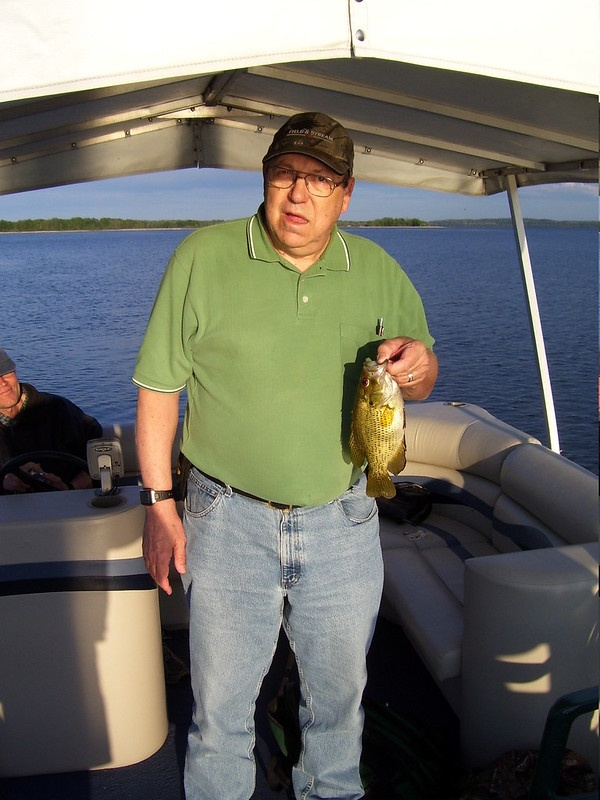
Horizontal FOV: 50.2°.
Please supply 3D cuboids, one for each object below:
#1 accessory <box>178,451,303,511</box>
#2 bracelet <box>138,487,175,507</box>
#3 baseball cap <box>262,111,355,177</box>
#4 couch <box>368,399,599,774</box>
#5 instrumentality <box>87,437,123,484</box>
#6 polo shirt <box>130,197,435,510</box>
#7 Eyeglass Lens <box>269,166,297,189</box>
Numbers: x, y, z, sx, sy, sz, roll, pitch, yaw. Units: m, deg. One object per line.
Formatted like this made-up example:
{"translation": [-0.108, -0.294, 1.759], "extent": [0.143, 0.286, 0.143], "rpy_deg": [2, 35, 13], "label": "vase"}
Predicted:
{"translation": [-0.206, 0.211, 1.682], "extent": [0.231, 0.070, 0.161], "rpy_deg": [15, 7, 6], "label": "accessory"}
{"translation": [-0.372, 0.247, 1.664], "extent": [0.083, 0.042, 0.078], "rpy_deg": [0, 1, 16], "label": "bracelet"}
{"translation": [0.029, -0.630, 1.559], "extent": [0.210, 0.129, 0.269], "rpy_deg": [11, 15, 10], "label": "baseball cap"}
{"translation": [0.764, 0.825, 2.766], "extent": [0.532, 0.492, 1.468], "rpy_deg": [0, 13, -1], "label": "couch"}
{"translation": [-0.706, 0.222, 2.311], "extent": [0.142, 0.168, 0.117], "rpy_deg": [-3, 6, 0], "label": "instrumentality"}
{"translation": [-0.030, -0.127, 1.735], "extent": [0.892, 0.705, 0.410], "rpy_deg": [0, 17, -23], "label": "polo shirt"}
{"translation": [-0.040, -0.519, 1.495], "extent": [0.063, 0.033, 0.062], "rpy_deg": [4, 6, -2], "label": "Eyeglass Lens"}
